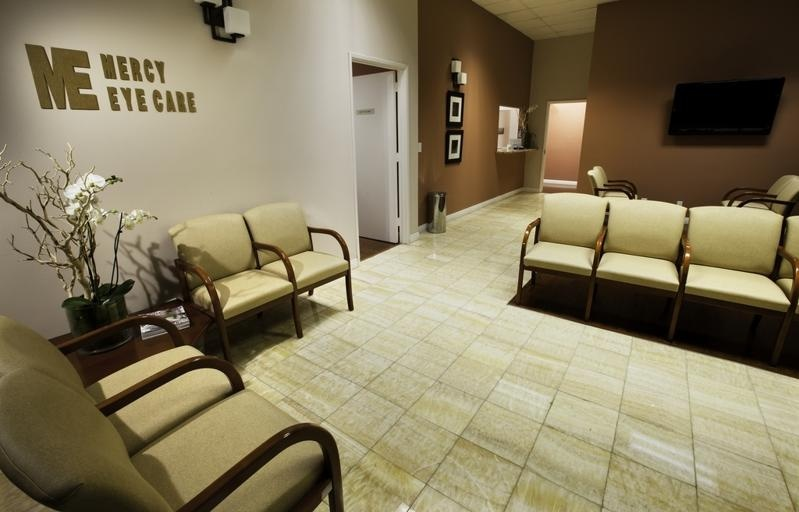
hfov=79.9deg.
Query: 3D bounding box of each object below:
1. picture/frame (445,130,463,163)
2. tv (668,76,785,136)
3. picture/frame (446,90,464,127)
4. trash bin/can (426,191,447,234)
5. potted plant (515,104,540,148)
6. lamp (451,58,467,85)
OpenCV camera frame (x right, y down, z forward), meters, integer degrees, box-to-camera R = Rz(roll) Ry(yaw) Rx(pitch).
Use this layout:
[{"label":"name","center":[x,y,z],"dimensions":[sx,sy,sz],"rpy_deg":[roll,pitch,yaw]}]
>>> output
[{"label":"picture/frame","center":[0.865,-1.791,7.676],"dimensions":[0.039,0.491,0.489],"rpy_deg":[11,24,28]},{"label":"tv","center":[4.766,-2.178,6.980],"dimensions":[1.320,0.806,0.325],"rpy_deg":[12,25,29]},{"label":"picture/frame","center":[0.861,-2.349,7.518],"dimensions":[0.046,0.543,0.565],"rpy_deg":[9,21,28]},{"label":"trash bin/can","center":[0.565,-0.671,7.332],"dimensions":[0.319,0.625,0.201],"rpy_deg":[9,24,23]},{"label":"potted plant","center":[2.731,-2.730,10.151],"dimensions":[0.390,0.888,1.007],"rpy_deg":[5,22,15]},{"label":"lamp","center":[0.908,-2.861,7.373],"dimensions":[0.135,0.410,0.408],"rpy_deg":[9,22,26]}]
